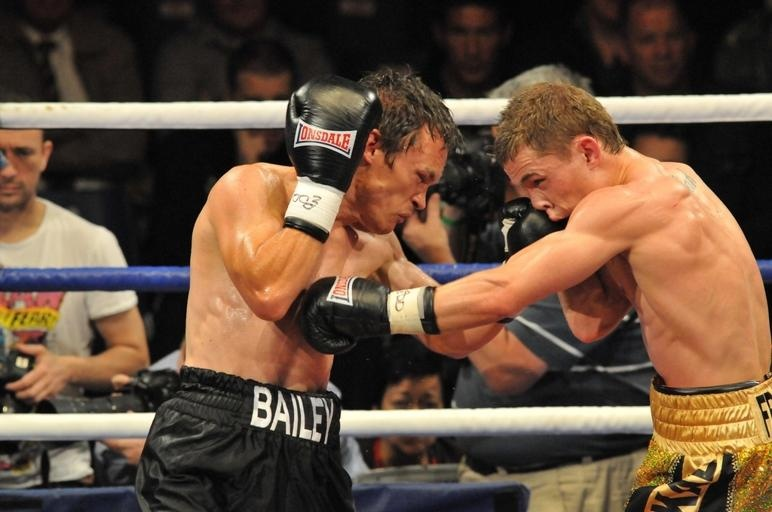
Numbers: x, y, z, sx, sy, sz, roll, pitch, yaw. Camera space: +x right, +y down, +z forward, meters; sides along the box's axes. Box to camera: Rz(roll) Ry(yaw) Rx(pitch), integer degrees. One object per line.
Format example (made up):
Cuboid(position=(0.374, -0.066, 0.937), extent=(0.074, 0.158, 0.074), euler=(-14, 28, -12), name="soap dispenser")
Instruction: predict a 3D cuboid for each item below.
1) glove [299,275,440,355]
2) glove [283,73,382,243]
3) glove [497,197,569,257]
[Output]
Cuboid(position=(-0.042, 0.213, 3.787), extent=(0.615, 0.234, 0.357), euler=(-3, 19, 30), name="glove")
Cuboid(position=(-0.221, -0.375, 3.784), extent=(0.420, 0.577, 0.250), euler=(15, -4, 19), name="glove")
Cuboid(position=(0.582, -0.088, 3.943), extent=(0.212, 0.264, 0.313), euler=(-14, 28, -26), name="glove")
